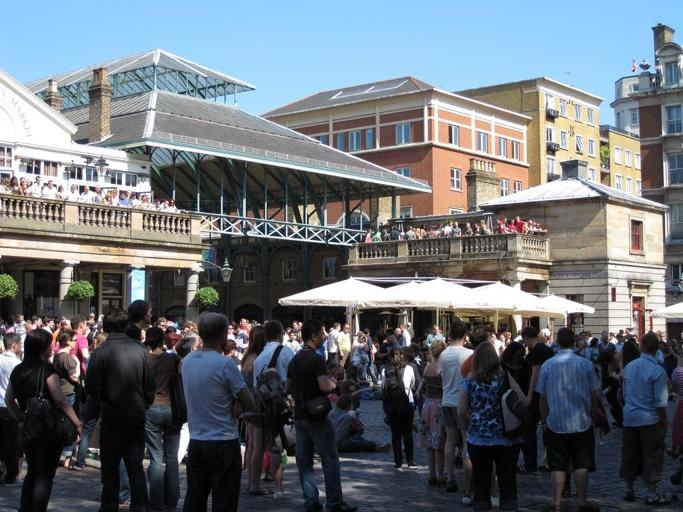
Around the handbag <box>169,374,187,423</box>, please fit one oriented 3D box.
[{"bbox_3d":[-2.501,2.266,18.542,0.204,0.809,0.316,-5,-10,30],"label":"handbag"}]

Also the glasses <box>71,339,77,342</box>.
[{"bbox_3d":[-4.720,1.499,21.030,0.095,0.030,0.097,2,-17,-18],"label":"glasses"}]

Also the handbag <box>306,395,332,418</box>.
[{"bbox_3d":[-0.359,2.382,18.493,0.395,0.361,0.197,1,-8,-10],"label":"handbag"}]

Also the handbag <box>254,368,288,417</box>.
[{"bbox_3d":[-1.126,2.211,19.268,0.587,0.698,0.398,-13,-14,-7],"label":"handbag"}]

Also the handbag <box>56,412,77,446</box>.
[{"bbox_3d":[-4.083,2.621,17.811,0.178,0.496,0.399,-4,-9,24],"label":"handbag"}]

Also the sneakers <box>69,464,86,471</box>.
[{"bbox_3d":[-4.642,3.762,20.983,0.268,0.118,0.093,-11,-9,31],"label":"sneakers"}]

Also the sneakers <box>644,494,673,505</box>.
[{"bbox_3d":[5.131,3.981,19.302,0.403,0.167,0.189,-2,0,-6],"label":"sneakers"}]

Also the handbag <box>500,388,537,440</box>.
[{"bbox_3d":[2.617,2.316,17.966,0.567,1.032,0.803,1,7,15],"label":"handbag"}]

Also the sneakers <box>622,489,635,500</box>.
[{"bbox_3d":[4.703,3.953,19.563,0.165,0.160,0.367,1,-1,10],"label":"sneakers"}]

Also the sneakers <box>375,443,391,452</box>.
[{"bbox_3d":[0.800,3.764,23.192,0.283,0.123,0.108,3,-7,-39],"label":"sneakers"}]

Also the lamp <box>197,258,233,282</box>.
[{"bbox_3d":[-4.713,0.490,45.173,1.416,0.963,1.445,-2,-2,15],"label":"lamp"}]
